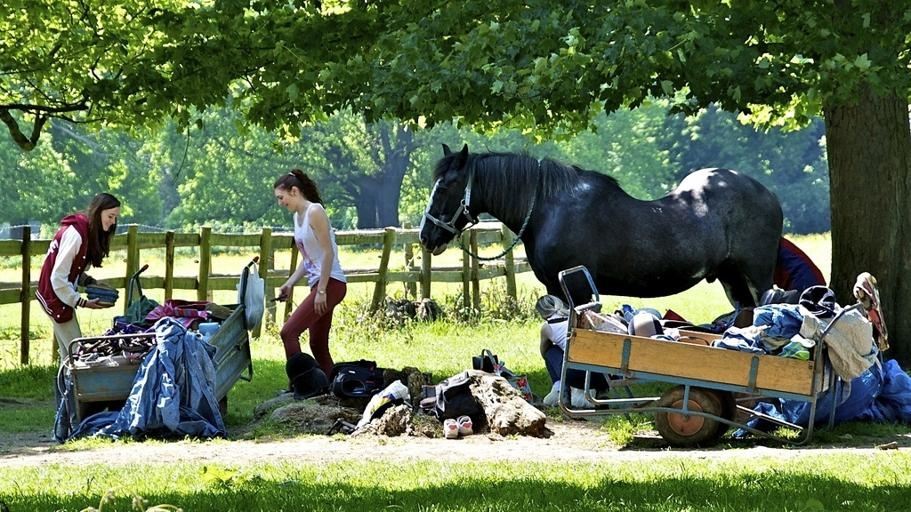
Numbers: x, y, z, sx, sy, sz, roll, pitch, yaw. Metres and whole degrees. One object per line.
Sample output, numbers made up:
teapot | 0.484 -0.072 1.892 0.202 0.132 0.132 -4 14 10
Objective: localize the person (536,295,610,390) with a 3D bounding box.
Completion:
person | 1.858 1.514 20.482 0.794 1.700 1.406 -15 15 -34

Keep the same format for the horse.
horse | 2.765 0.235 21.679 7.299 3.689 1.790 -1 7 -19

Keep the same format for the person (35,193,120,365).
person | -6.150 0.471 20.748 1.179 2.919 1.302 1 -2 -31

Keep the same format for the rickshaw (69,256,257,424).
rickshaw | -4.609 1.611 20.523 1.991 1.990 3.251 10 30 31
